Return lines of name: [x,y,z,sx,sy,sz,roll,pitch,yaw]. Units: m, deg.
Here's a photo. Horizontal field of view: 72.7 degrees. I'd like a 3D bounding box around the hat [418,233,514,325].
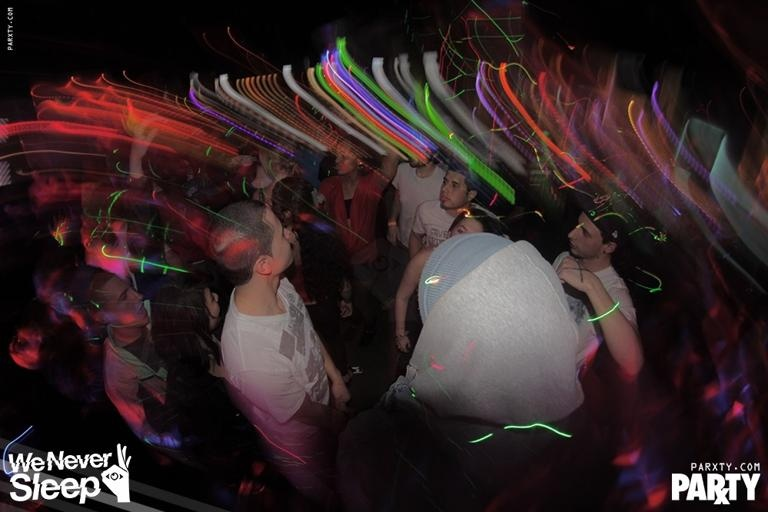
hat: [0.862,0.265,5.111,0.270,0.903,0.822,33,-56,-32]
